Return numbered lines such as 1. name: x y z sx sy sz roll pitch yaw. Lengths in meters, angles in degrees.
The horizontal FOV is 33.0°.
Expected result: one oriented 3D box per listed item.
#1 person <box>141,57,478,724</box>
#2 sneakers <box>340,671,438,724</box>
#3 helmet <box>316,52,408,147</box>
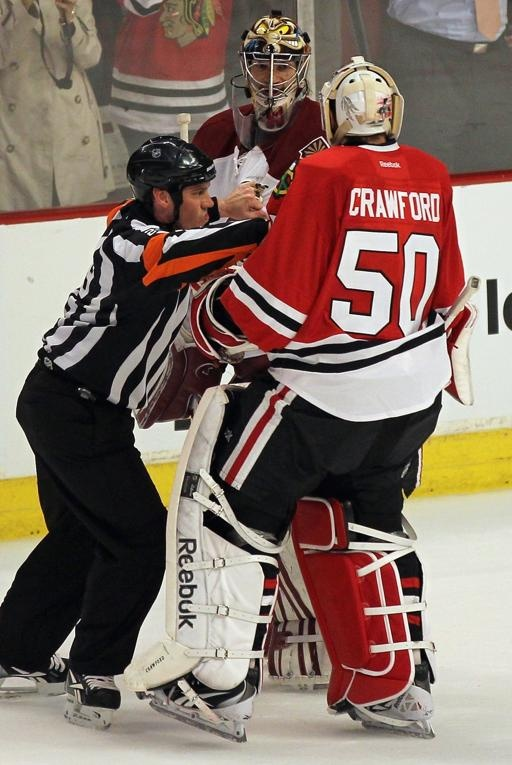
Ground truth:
1. person: 0.117 0.032 1.718 0.729 1.341 0.407 -2 -6 -9
2. sneakers: 0.264 0.644 1.724 0.162 0.085 0.109 -12 6 5
3. helmet: 0.208 -0.550 1.699 0.157 0.157 0.117 -3 -6 5
